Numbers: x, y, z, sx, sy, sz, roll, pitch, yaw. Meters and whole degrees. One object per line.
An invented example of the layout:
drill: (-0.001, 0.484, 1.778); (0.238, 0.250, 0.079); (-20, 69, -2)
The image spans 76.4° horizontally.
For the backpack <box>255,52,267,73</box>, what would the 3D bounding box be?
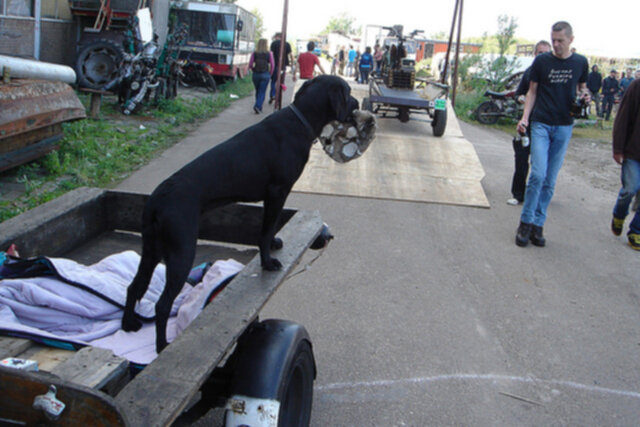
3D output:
backpack: (-1.985, -5.029, 13.559); (0.480, 0.632, 0.305); (3, 19, -6)

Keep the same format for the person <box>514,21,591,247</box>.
person: (3.228, -1.052, 5.707); (0.682, 2.973, 0.777); (2, 19, -7)

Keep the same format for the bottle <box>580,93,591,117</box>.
bottle: (3.631, -1.470, 5.533); (0.084, 0.323, 0.380); (20, 24, 38)

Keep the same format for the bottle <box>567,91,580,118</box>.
bottle: (3.493, -1.469, 5.510); (0.154, 0.323, 0.137); (21, 24, 39)

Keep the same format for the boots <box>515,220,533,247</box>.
boots: (2.905, 0.278, 5.854); (0.148, 0.201, 0.474); (9, 34, 8)

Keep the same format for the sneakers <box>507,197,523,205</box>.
sneakers: (3.594, -0.210, 7.488); (0.312, 0.138, 0.122); (20, -4, -38)

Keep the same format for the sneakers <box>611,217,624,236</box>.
sneakers: (4.661, 0.213, 6.347); (0.116, 0.368, 0.142); (-1, -8, 10)
